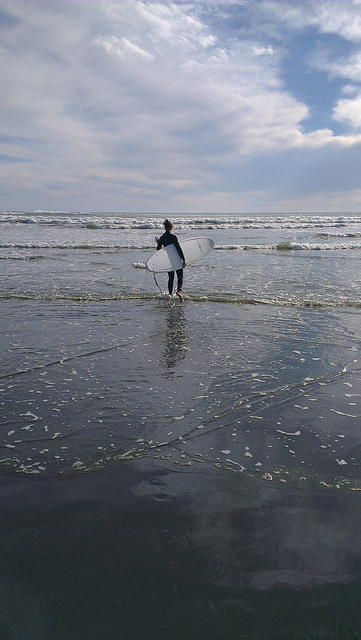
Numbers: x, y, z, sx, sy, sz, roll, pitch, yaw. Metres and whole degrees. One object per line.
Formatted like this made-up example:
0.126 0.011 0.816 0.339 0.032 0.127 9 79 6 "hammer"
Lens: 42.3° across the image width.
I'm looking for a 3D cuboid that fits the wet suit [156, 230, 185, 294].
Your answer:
-0.226 -1.253 10.102 0.547 1.342 0.928 0 11 -2 "wet suit"
